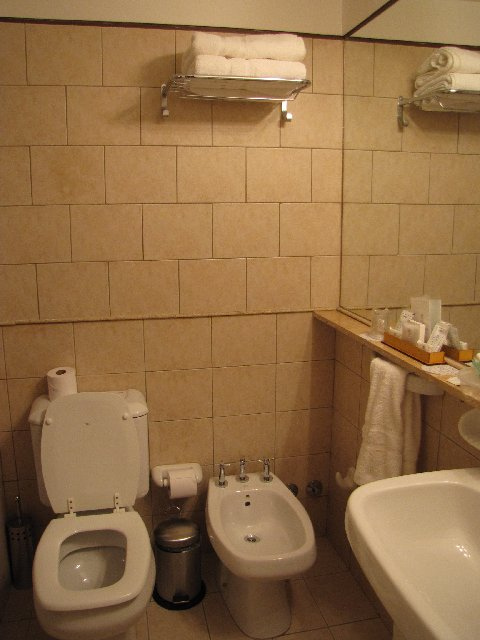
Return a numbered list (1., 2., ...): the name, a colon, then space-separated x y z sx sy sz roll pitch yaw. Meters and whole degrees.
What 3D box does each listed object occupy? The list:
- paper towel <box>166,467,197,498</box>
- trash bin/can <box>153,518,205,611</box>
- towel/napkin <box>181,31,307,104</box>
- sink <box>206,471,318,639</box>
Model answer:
1. paper towel: -0.221 0.611 2.134 0.120 0.095 0.107 -5 -28 -25
2. trash bin/can: -0.228 0.893 2.058 0.196 0.258 0.170 -1 10 -5
3. towel/napkin: 0.008 -0.846 1.828 0.401 0.208 0.301 -1 10 -7
4. sink: 0.067 0.800 1.973 0.305 0.377 0.491 -5 21 -14
